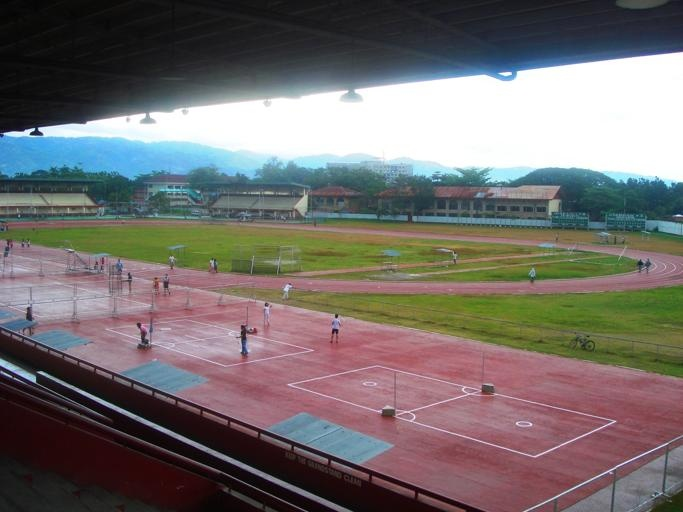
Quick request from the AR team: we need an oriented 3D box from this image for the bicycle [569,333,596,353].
[{"bbox_3d":[14.850,5.306,37.523,1.827,0.849,0.844,3,4,44],"label":"bicycle"}]
